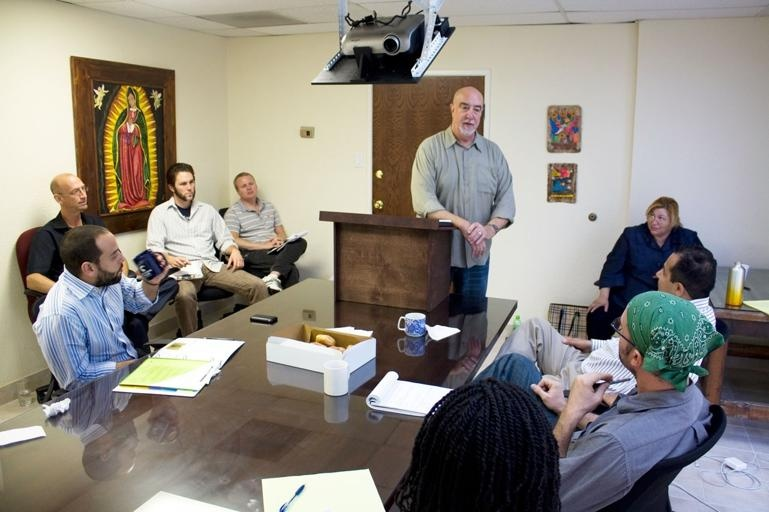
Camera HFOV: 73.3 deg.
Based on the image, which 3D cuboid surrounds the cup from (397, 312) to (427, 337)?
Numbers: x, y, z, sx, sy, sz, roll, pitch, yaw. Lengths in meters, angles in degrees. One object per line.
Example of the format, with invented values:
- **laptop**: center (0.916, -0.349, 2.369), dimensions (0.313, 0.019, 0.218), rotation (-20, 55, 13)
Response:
- **cup**: center (0.149, 0.368, 2.798), dimensions (0.151, 0.102, 0.104), rotation (-1, 8, 7)

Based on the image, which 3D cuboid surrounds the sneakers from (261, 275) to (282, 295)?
- **sneakers**: center (-1.083, 0.277, 4.918), dimensions (0.102, 0.123, 0.272), rotation (-16, 24, -41)

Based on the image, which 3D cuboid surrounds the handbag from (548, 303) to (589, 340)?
- **handbag**: center (1.855, 0.617, 5.249), dimensions (0.422, 0.433, 0.320), rotation (8, 9, 28)

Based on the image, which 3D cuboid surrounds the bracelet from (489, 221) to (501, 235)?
- **bracelet**: center (0.794, -0.207, 3.736), dimensions (0.080, 0.025, 0.083), rotation (52, 20, 24)

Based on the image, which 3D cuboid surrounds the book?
- **book**: center (0.102, 0.489, 2.108), dimensions (0.285, 0.069, 0.281), rotation (6, 13, 19)

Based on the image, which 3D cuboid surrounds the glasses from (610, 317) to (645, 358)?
- **glasses**: center (0.997, 0.342, 2.117), dimensions (0.033, 0.124, 0.117), rotation (-25, 21, -4)

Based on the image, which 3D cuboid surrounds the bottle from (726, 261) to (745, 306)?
- **bottle**: center (2.453, 0.190, 3.602), dimensions (0.103, 0.283, 0.275), rotation (7, 15, 34)

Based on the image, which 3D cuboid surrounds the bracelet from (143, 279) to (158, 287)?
- **bracelet**: center (-1.362, 0.152, 2.988), dimensions (0.066, 0.035, 0.050), rotation (3, 8, 12)

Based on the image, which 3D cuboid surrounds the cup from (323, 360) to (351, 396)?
- **cup**: center (-0.197, 0.514, 2.200), dimensions (0.088, 0.102, 0.142), rotation (1, 9, 7)

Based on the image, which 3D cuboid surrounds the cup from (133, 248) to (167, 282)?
- **cup**: center (-1.354, 0.056, 2.976), dimensions (0.110, 0.138, 0.200), rotation (-32, 9, 7)
